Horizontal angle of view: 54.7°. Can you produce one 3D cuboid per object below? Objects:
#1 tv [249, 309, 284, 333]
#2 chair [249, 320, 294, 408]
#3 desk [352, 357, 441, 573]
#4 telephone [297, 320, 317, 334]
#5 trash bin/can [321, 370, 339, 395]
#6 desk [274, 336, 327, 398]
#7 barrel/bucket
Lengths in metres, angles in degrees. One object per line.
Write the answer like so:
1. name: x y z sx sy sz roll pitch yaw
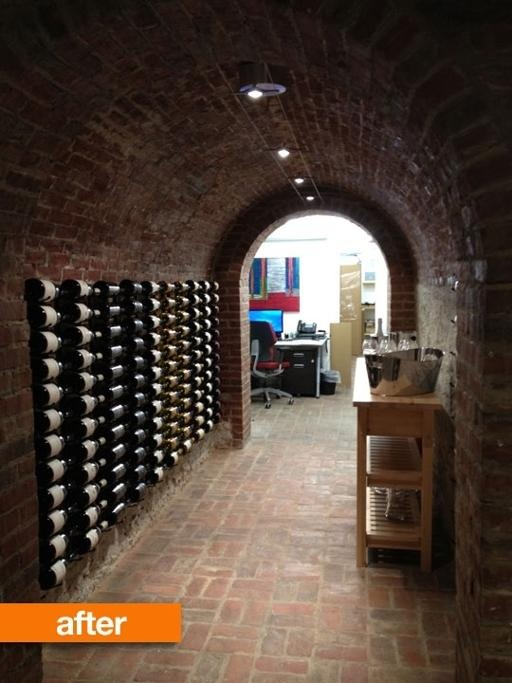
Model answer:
1. tv: 0.186 -0.385 9.491 0.574 0.393 0.057 0 -2 8
2. chair: 0.177 0.381 8.539 0.903 1.354 0.892 -1 -5 34
3. desk: 0.968 0.874 3.392 0.408 0.809 1.412 -1 5 8
4. telephone: 1.031 -0.283 9.992 0.280 0.259 0.175 -1 -1 15
5. trash bin/can: 1.328 0.738 9.017 0.372 0.426 0.437 4 4 12
6. desk: 0.842 0.473 9.002 1.009 0.939 0.956 0 4 6
7. barrel/bucket: 0.980 0.197 3.315 0.447 0.208 0.329 0 -2 12
